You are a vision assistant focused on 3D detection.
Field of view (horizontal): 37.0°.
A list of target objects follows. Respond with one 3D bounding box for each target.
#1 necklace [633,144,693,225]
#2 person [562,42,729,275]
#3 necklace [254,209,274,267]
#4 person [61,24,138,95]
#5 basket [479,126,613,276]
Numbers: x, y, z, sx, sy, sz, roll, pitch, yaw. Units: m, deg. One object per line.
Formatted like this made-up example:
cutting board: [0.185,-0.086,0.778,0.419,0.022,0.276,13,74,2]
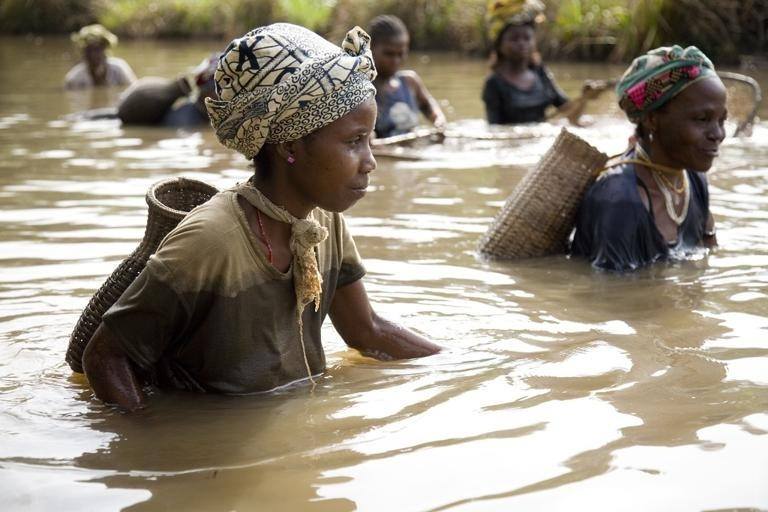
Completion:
necklace: [1.930,-0.477,7.734,0.409,0.558,0.186,-33,6,-38]
person: [1.791,-0.662,7.677,0.954,1.459,0.541,-9,21,-17]
necklace: [-0.625,-0.095,6.115,0.063,0.334,0.030,-30,-15,28]
person: [-3.699,-2.585,15.025,1.073,0.599,0.438,-1,16,-4]
basket: [1.085,-0.372,8.054,0.513,1.058,0.632,36,10,-24]
